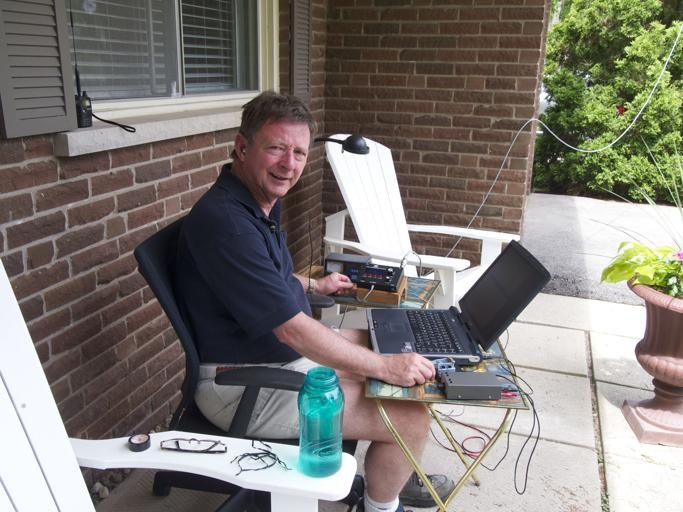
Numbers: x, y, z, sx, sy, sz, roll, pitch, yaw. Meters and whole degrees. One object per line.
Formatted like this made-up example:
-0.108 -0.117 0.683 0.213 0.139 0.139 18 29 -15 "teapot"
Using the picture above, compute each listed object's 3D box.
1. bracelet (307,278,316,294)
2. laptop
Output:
-0.130 0.145 2.335 0.045 0.062 0.066 2 51 -13 "bracelet"
0.415 0.239 1.854 0.544 0.348 0.527 10 14 -6 "laptop"
